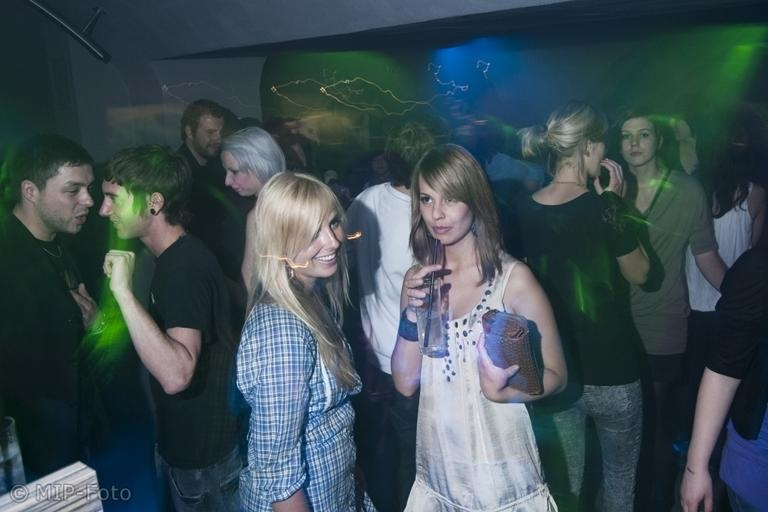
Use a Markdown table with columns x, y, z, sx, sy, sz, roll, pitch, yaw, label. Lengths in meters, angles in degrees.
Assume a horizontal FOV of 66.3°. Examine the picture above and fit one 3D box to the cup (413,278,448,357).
| x | y | z | sx | sy | sz | roll | pitch | yaw | label |
| --- | --- | --- | --- | --- | --- | --- | --- | --- | --- |
| 0.248 | 0.300 | 3.023 | 0.162 | 0.399 | 0.214 | -2 | 12 | 6 | cup |
